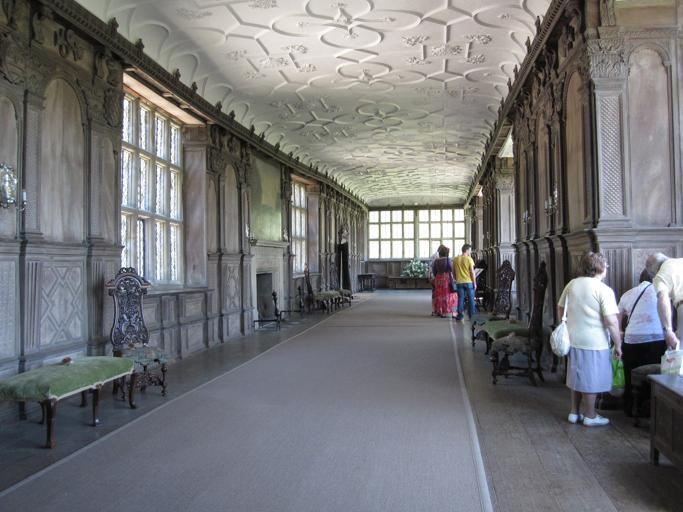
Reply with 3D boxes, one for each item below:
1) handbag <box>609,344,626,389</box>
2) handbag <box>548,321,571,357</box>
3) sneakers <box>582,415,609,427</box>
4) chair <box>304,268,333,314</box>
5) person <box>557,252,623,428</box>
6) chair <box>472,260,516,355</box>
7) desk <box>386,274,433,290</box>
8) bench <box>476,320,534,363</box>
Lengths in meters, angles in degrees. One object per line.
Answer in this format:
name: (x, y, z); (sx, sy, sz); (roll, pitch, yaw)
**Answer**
handbag: (2.717, 1.133, 4.570); (0.123, 0.285, 0.118); (7, -2, 10)
handbag: (2.001, 0.744, 4.271); (0.164, 0.332, 0.205); (3, -13, -1)
sneakers: (2.305, 1.479, 4.242); (0.226, 0.104, 0.096); (-2, -2, -6)
chair: (-0.652, 0.916, 13.793); (0.880, 1.358, 0.872); (-2, 4, 29)
person: (2.266, 0.743, 4.278); (0.490, 1.022, 0.317); (-2, -2, 27)
chair: (2.789, 0.867, 8.498); (0.623, 1.686, 0.584); (-10, 17, -22)
desk: (3.355, 1.340, 24.345); (2.509, 0.732, 1.632); (-3, -3, 20)
bench: (2.209, 1.033, 6.550); (0.757, 0.426, 0.578); (0, -4, -16)
